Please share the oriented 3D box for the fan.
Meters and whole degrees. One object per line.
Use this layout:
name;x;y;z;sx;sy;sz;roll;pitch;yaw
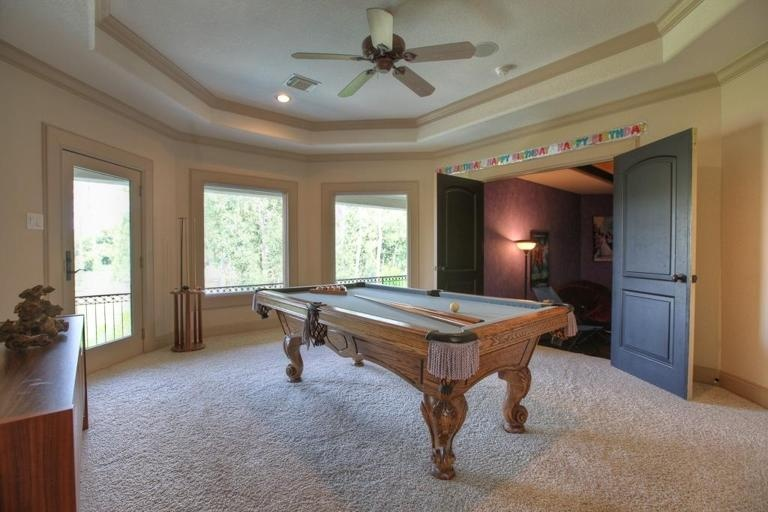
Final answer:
fan;0.114;-2.016;4.634;1.522;0.649;0.937;-1;1;16
